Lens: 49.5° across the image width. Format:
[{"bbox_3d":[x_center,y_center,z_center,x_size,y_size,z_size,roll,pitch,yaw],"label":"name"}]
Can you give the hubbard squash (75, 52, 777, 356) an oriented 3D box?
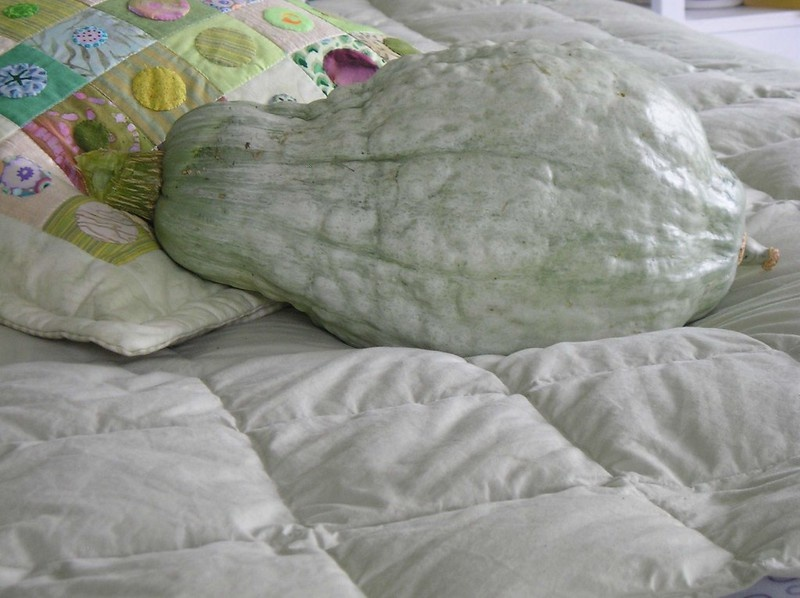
[{"bbox_3d":[0.058,-0.126,1.281,1.019,0.304,0.339,3,57,1],"label":"hubbard squash"}]
